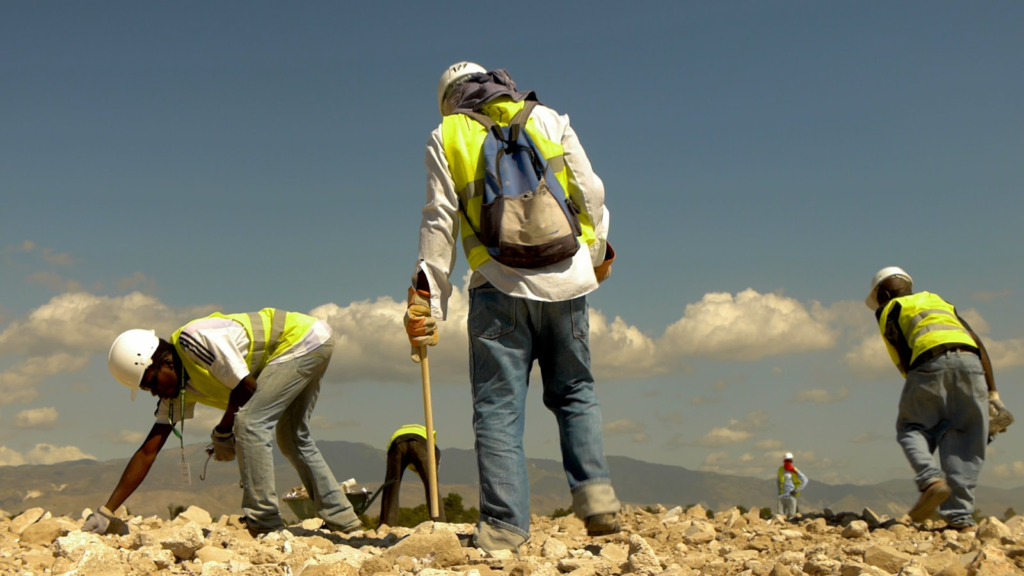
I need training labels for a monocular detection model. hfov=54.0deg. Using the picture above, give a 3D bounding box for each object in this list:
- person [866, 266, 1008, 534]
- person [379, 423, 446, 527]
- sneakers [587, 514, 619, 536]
[{"bbox_3d":[4.940,1.237,11.695,1.270,3.064,0.918,-4,-10,19],"label":"person"},{"bbox_3d":[-1.149,2.243,11.935,0.705,1.452,0.444,2,32,-4],"label":"person"},{"bbox_3d":[0.905,2.201,9.327,0.405,0.143,0.170,12,-9,-44],"label":"sneakers"}]
